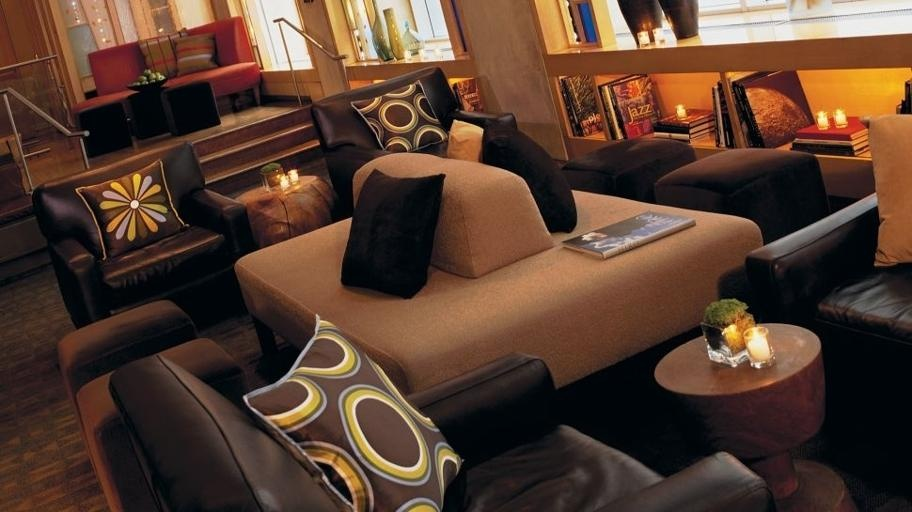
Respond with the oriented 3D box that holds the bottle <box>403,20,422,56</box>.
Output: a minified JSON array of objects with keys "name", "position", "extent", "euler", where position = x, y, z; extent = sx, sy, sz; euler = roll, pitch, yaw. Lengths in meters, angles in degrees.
[{"name":"bottle","position":[-0.539,-2.709,7.393],"extent":[0.200,0.408,0.356],"euler":[-7,20,10]}]

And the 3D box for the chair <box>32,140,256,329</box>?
[{"name":"chair","position":[-2.515,-0.132,4.846],"extent":[1.673,1.480,1.113],"euler":[-22,24,-28]}]

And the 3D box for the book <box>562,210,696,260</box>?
[{"name":"book","position":[0.938,-0.119,3.191],"extent":[0.549,0.052,0.307],"euler":[-19,24,-33]}]

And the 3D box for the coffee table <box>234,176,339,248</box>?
[{"name":"coffee table","position":[-1.408,-0.469,5.052],"extent":[0.694,0.409,0.617],"euler":[-17,10,7]}]

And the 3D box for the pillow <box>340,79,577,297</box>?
[{"name":"pillow","position":[-0.020,-0.399,3.386],"extent":[1.118,0.793,1.137],"euler":[-22,29,-40]}]

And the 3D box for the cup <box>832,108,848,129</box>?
[{"name":"cup","position":[2.735,-0.985,4.205],"extent":[0.090,0.121,0.199],"euler":[2,23,31]}]

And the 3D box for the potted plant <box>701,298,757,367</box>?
[{"name":"potted plant","position":[1.138,0.337,2.473],"extent":[0.193,0.277,0.179],"euler":[-31,26,-19]}]

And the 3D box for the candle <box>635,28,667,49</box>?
[{"name":"candle","position":[1.662,-1.824,4.970],"extent":[0.247,0.145,0.237],"euler":[-24,33,-28]}]

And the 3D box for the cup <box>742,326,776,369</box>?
[{"name":"cup","position":[1.235,0.385,2.423],"extent":[0.121,0.167,0.110],"euler":[-17,17,5]}]
